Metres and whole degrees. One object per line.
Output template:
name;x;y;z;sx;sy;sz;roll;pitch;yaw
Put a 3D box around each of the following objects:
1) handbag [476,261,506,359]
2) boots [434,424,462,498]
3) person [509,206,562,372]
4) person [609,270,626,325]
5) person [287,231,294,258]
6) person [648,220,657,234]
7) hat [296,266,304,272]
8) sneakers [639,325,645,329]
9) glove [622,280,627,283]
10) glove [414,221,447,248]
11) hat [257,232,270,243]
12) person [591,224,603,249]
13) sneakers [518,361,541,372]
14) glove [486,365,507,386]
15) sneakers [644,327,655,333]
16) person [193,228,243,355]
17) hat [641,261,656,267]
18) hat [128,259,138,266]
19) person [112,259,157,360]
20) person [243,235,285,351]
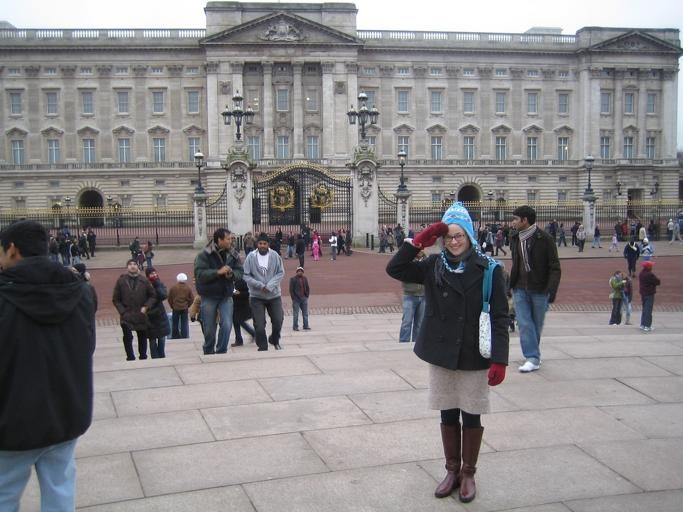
handbag;1.328;0.466;6.770;0.173;0.863;0.392;1;5;12
boots;0.953;1.802;6.693;0.223;0.583;0.422;1;5;11
person;2.562;0.376;9.965;0.633;2.072;0.882;1;5;12
person;5.980;0.936;16.232;0.309;1.039;1.512;2;6;21
person;-2.237;-0.463;33.315;0.344;1.004;1.182;-1;5;-4
person;17.909;-1.647;43.138;0.505;0.838;1.307;2;6;27
hat;-0.851;0.282;15.604;0.196;0.102;0.273;1;1;22
sneakers;5.973;1.403;14.903;0.052;0.069;0.157;-2;-9;26
glove;6.170;0.536;16.344;0.067;0.089;0.028;-5;-3;-4
glove;0.802;-0.197;6.834;0.182;0.105;0.311;15;-30;-42
hat;-1.236;-0.300;11.900;0.138;0.147;0.153;0;-2;-9
person;13.263;-1.021;38.988;0.390;1.111;1.986;1;6;18
sneakers;2.404;1.405;9.595;0.303;0.136;0.120;-2;8;-17
glove;1.370;1.041;6.641;0.148;0.212;0.227;1;6;11
sneakers;6.035;1.438;14.721;0.089;0.128;0.298;-1;-9;14
person;-1.881;0.548;11.559;0.723;1.947;0.613;-2;6;-18
hat;7.388;0.179;18.069;0.255;0.067;0.254;-32;22;-27
hat;-3.473;0.084;12.411;0.119;0.128;0.158;0;-9;-12
person;-3.366;0.886;12.192;0.623;1.577;0.783;-3;6;-24
person;-1.246;0.604;11.987;0.631;1.934;0.984;-1;5;-5
